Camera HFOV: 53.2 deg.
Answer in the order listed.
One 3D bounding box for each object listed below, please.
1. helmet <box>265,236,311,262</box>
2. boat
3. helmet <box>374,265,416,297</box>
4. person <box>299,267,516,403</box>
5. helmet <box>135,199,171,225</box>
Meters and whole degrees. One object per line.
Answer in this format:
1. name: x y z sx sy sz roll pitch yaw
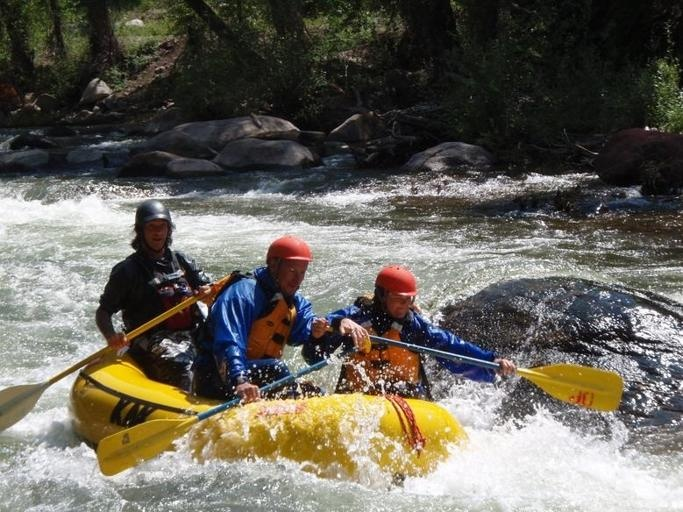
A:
1. helmet: -0.387 -0.048 5.065 0.276 0.118 0.197 5 0 21
2. boat: -0.671 1.367 5.642 3.261 0.882 1.990 2 -6 27
3. helmet: 0.417 0.188 5.116 0.291 0.127 0.200 8 -2 26
4. person: 0.580 0.683 5.617 1.055 1.074 0.485 10 10 -15
5. helmet: -1.536 -0.357 5.501 0.223 0.155 0.241 -7 6 -21
